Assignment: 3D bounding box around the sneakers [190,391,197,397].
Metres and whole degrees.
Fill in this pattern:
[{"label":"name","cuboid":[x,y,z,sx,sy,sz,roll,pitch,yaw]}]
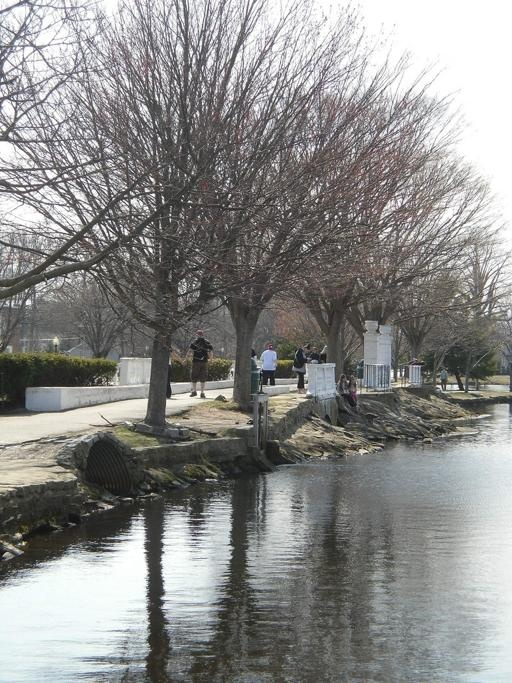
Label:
[{"label":"sneakers","cuboid":[-2.227,1.815,25.004,0.280,0.194,0.120,8,6,20]}]
